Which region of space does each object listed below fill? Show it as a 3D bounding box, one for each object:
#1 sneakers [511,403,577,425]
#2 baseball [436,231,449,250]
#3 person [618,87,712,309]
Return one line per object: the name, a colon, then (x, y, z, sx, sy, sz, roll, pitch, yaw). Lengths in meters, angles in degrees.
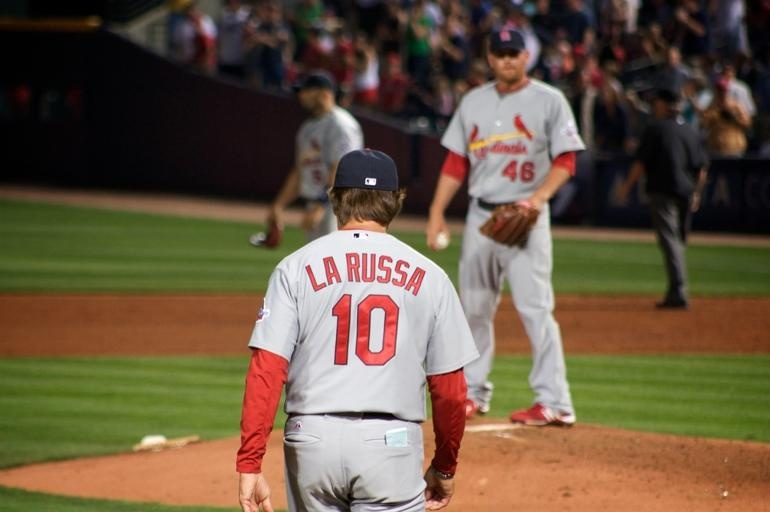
sneakers: (1.354, 1.322, 10.000, 0.510, 0.234, 0.208, 5, 4, 18)
baseball: (0.508, -0.134, 10.481, 0.124, 0.163, 0.133, -2, 1, 1)
person: (2.426, -0.483, 10.026, 0.579, 1.846, 0.283, 2, 12, 14)
